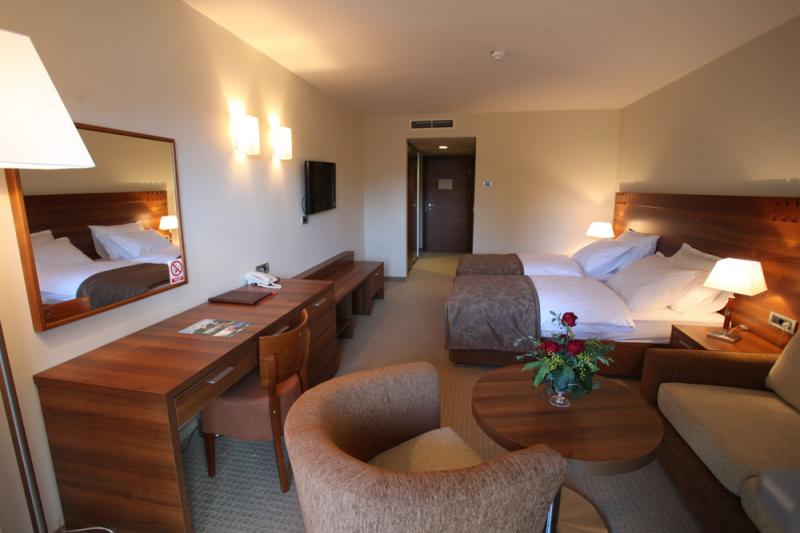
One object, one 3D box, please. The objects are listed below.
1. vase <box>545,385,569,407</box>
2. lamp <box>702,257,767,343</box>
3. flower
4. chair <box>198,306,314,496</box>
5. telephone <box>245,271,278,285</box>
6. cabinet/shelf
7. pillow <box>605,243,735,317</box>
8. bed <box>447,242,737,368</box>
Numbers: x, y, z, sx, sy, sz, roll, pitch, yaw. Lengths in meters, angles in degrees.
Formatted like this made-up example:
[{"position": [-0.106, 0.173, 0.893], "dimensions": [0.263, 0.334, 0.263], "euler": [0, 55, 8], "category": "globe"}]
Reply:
[{"position": [0.973, 0.781, 3.217], "dimensions": [0.131, 0.141, 0.132], "euler": [1, 13, 8], "category": "vase"}, {"position": [2.449, 0.244, 3.877], "dimensions": [0.356, 0.558, 0.350], "euler": [-3, 11, -45], "category": "lamp"}, {"position": [1.046, 0.519, 3.233], "dimensions": [0.500, 0.482, 0.507], "euler": [3, 4, 30], "category": "flower"}, {"position": [-0.986, 0.915, 3.540], "dimensions": [0.717, 0.908, 0.681], "euler": [-2, 2, -14], "category": "chair"}, {"position": [-1.152, 0.081, 4.270], "dimensions": [0.178, 0.064, 0.125], "euler": [-1, 9, 2], "category": "telephone"}, {"position": [-0.787, 0.359, 5.749], "dimensions": [0.748, 0.796, 2.195], "euler": [-1, 7, 6], "category": "cabinet/shelf"}, {"position": [2.253, 0.150, 4.405], "dimensions": [0.626, 0.271, 0.716], "euler": [-10, 18, 12], "category": "pillow"}, {"position": [1.565, 0.285, 4.598], "dimensions": [1.468, 0.667, 1.533], "euler": [4, 17, 13], "category": "bed"}]
